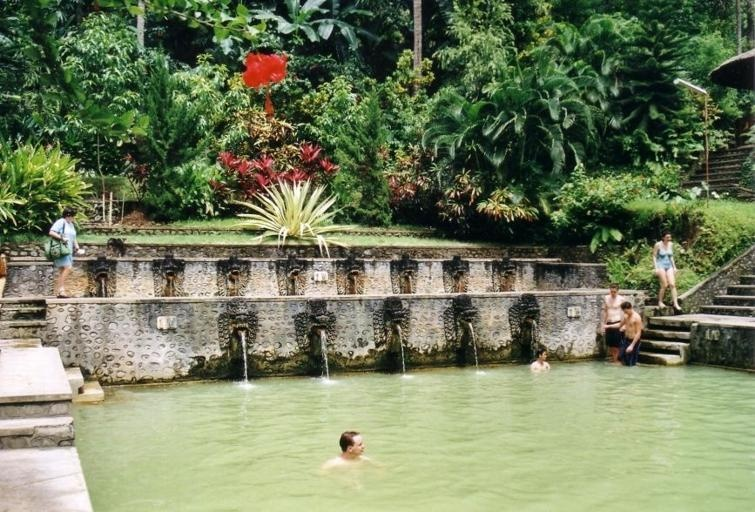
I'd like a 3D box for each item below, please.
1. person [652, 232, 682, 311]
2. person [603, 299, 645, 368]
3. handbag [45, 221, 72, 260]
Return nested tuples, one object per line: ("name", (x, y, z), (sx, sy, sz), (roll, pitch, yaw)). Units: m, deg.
("person", (7.573, 0.346, 21.040), (0.722, 2.078, 1.430), (4, 11, 21))
("person", (6.028, 1.971, 19.916), (0.829, 2.051, 0.943), (-11, 22, -22))
("handbag", (-6.993, -0.333, 17.683), (0.507, 0.887, 0.310), (-4, 11, -22))
